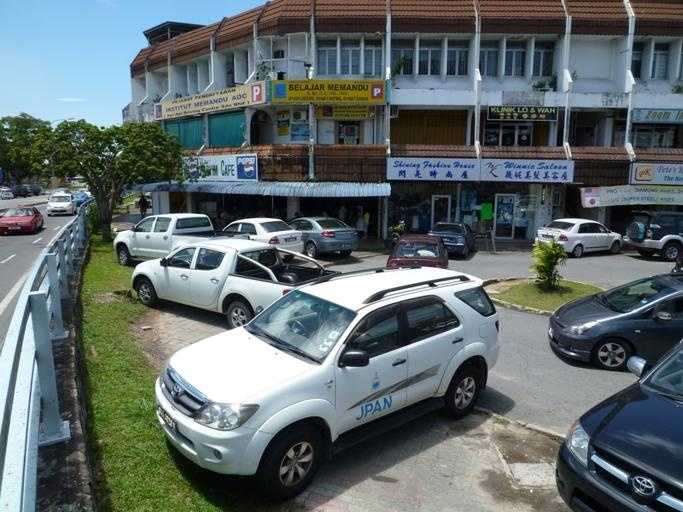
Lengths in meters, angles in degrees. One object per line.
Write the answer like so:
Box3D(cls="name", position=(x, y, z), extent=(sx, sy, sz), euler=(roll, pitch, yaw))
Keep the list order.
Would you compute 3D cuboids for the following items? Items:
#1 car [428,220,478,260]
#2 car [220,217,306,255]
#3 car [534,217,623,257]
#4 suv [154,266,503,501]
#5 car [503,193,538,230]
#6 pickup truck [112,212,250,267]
Box3D(cls="car", position=(5.092, -0.660, 24.252), extent=(1.243, 0.962, 2.705), euler=(3, 13, 20))
Box3D(cls="car", position=(-3.047, -0.628, 20.519), extent=(2.744, 1.019, 1.302), euler=(19, 20, 36))
Box3D(cls="car", position=(10.147, -0.771, 23.792), extent=(3.159, 1.206, 1.478), euler=(-7, 12, -24))
Box3D(cls="suv", position=(-0.093, 1.604, 8.605), extent=(4.621, 2.176, 2.585), euler=(-4, 9, -36))
Box3D(cls="car", position=(9.576, -2.610, 30.278), extent=(2.138, 2.251, 1.418), euler=(2, 25, 13))
Box3D(cls="pickup truck", position=(-5.656, -0.704, 18.290), extent=(4.435, 1.793, 2.050), euler=(6, 10, 29))
